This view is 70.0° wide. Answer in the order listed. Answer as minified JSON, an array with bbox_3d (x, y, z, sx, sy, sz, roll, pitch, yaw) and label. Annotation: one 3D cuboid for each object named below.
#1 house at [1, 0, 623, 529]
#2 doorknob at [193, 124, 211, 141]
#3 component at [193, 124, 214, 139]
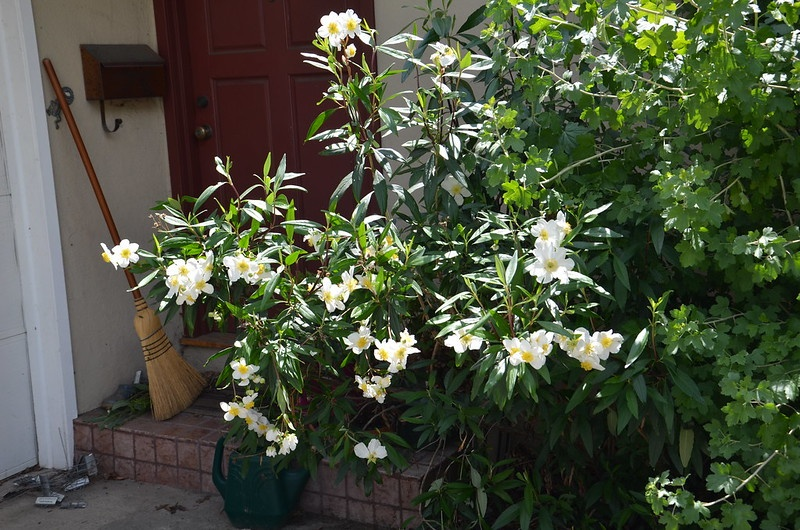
[{"bbox_3d":[-0.062,0.090,2.847,1.976,1.889,1.997,0,7,8],"label":"house"},{"bbox_3d":[-1.245,-0.830,3.583,0.083,0.093,0.020,8,15,17],"label":"doorknob"},{"bbox_3d":[-1.243,-0.841,3.584,0.083,0.092,0.021,7,15,18],"label":"component"}]
